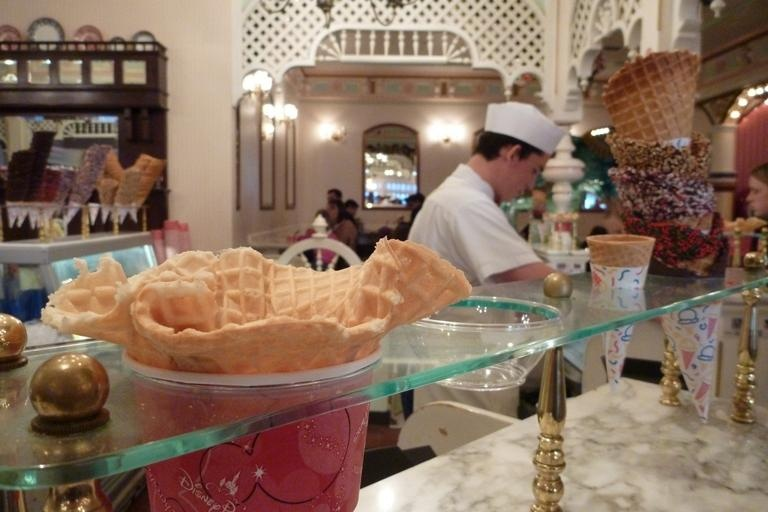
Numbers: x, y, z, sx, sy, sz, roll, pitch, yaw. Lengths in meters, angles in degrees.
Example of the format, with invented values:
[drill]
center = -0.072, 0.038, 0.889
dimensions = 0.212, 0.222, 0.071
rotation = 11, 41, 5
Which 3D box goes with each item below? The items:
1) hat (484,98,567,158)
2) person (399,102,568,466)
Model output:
[hat]
center = 0.625, -0.586, 2.857
dimensions = 0.291, 0.136, 0.227
rotation = 14, 11, 14
[person]
center = 0.535, 0.079, 3.092
dimensions = 0.826, 1.592, 0.754
rotation = 5, 10, 34
